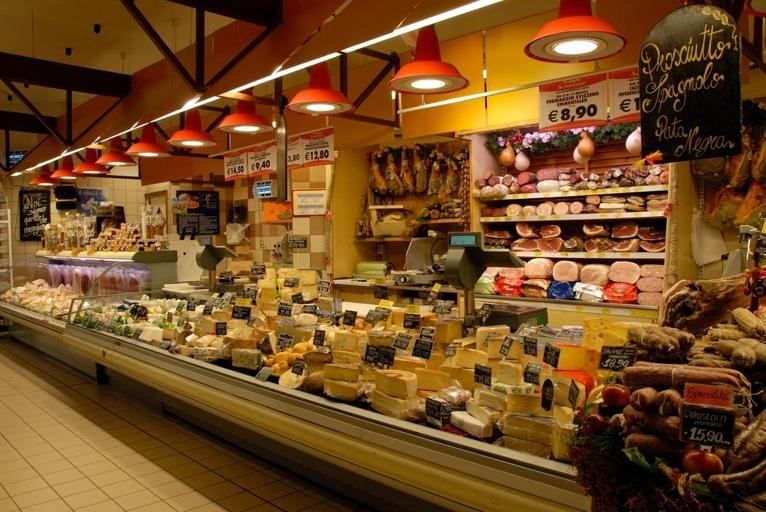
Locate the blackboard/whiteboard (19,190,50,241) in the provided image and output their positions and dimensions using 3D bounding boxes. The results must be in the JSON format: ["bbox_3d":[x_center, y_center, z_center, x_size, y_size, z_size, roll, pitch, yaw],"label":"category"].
[{"bbox_3d":[-8.231,-0.975,12.367,0.726,1.230,0.261,-7,9,-31],"label":"blackboard/whiteboard"}]

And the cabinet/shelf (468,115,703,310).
[{"bbox_3d":[2.133,-0.415,5.441,2.502,2.108,0.771,1,-1,28],"label":"cabinet/shelf"}]

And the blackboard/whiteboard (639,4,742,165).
[{"bbox_3d":[1.655,-0.932,2.839,0.509,0.825,0.196,3,9,36],"label":"blackboard/whiteboard"}]

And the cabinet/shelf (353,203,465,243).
[{"bbox_3d":[0.408,-0.522,7.611,1.798,0.527,0.602,4,9,38],"label":"cabinet/shelf"}]
